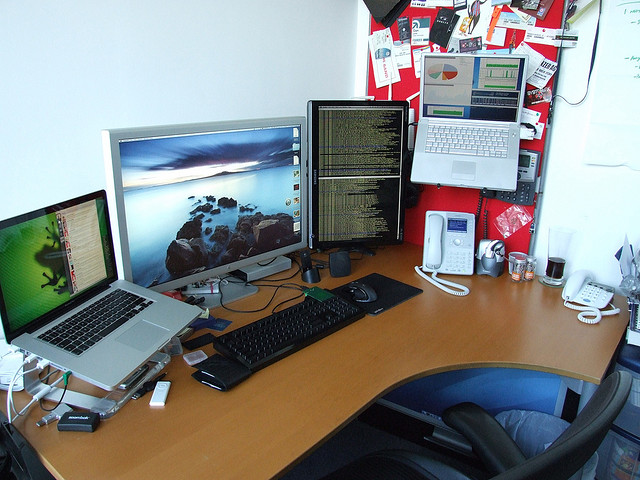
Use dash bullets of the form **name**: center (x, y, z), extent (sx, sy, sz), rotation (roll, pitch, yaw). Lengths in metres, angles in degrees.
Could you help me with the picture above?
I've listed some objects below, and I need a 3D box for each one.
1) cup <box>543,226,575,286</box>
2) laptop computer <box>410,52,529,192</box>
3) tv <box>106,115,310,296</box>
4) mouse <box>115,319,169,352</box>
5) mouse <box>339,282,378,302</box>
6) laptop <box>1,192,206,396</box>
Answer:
- **cup**: center (0.965, 0.062, 1.919), extent (0.096, 0.208, 0.155), rotation (10, 24, 26)
- **laptop computer**: center (0.602, -0.490, 1.900), extent (0.455, 0.562, 0.281), rotation (11, 20, 23)
- **tv**: center (-0.380, -0.120, 1.761), extent (0.791, 0.658, 0.210), rotation (-17, 29, -40)
- **mouse**: center (-0.517, 0.273, 1.369), extent (0.086, 0.004, 0.078), rotation (22, 34, 22)
- **mouse**: center (0.146, 0.190, 1.760), extent (0.097, 0.031, 0.072), rotation (17, 23, 38)
- **laptop**: center (-0.619, 0.118, 1.327), extent (0.343, 0.416, 0.387), rotation (9, 24, 24)
